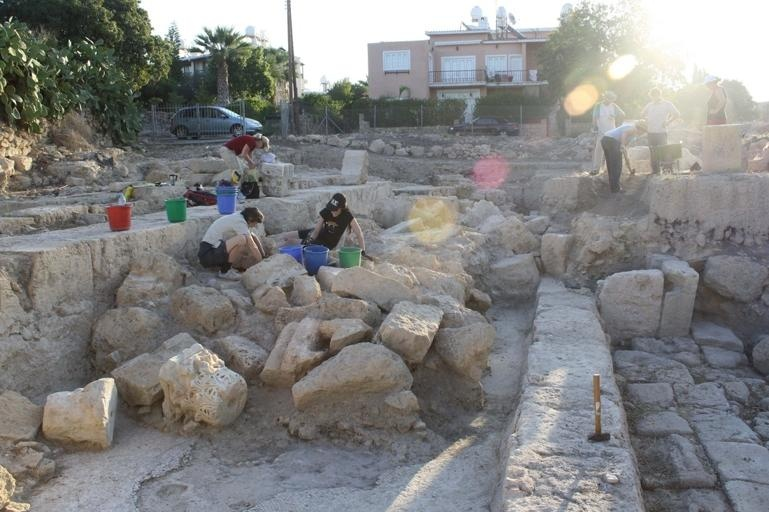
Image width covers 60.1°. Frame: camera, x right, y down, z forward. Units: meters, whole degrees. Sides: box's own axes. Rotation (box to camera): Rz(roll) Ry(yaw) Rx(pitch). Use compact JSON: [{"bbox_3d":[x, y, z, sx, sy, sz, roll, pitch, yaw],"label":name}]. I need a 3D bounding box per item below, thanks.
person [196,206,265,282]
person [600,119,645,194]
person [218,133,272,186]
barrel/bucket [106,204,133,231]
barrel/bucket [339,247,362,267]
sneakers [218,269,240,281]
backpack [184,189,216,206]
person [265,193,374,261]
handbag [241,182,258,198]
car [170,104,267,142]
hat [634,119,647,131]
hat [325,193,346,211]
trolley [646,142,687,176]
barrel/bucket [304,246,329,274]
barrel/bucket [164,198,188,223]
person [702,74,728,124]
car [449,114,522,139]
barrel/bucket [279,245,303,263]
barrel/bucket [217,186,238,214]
[{"bbox_3d":[-1.929,-0.194,8.401,0.905,0.776,0.775,-1,21,-10],"label":"person"},{"bbox_3d":[3.853,-1.607,10.696,0.670,1.111,0.929,4,15,21],"label":"person"},{"bbox_3d":[-2.353,-1.658,11.049,0.687,0.664,0.519,6,16,28],"label":"person"},{"bbox_3d":[-3.216,-0.464,8.066,0.281,0.291,0.316,1,-1,10],"label":"barrel/bucket"},{"bbox_3d":[-0.434,0.032,8.257,0.263,0.233,0.290,-3,14,-8],"label":"barrel/bucket"},{"bbox_3d":[-1.951,0.241,8.334,0.328,0.150,0.121,-4,20,3],"label":"sneakers"},{"bbox_3d":[-2.848,-0.885,10.202,0.254,0.144,0.453,2,1,-1],"label":"backpack"},{"bbox_3d":[-0.883,-0.386,8.642,1.537,0.863,0.790,11,10,-13],"label":"person"},{"bbox_3d":[-2.098,-1.015,10.349,0.294,0.293,0.222,0,2,-5],"label":"handbag"},{"bbox_3d":[-5.266,-4.049,20.175,2.358,0.923,1.303,-2,18,2],"label":"car"},{"bbox_3d":[4.087,-2.063,10.513,0.180,0.172,0.527,4,15,21],"label":"hat"},{"bbox_3d":[-0.616,-0.683,8.613,0.183,0.139,0.267,41,32,14],"label":"hat"},{"bbox_3d":[4.481,-1.553,10.545,0.450,0.474,0.433,3,14,17],"label":"trolley"},{"bbox_3d":[-0.873,0.048,8.316,0.294,0.274,0.330,1,4,1],"label":"barrel/bucket"},{"bbox_3d":[-2.751,-0.596,8.662,0.279,0.278,0.300,0,0,0],"label":"barrel/bucket"},{"bbox_3d":[5.622,-2.632,11.232,0.359,0.784,1.045,5,15,24],"label":"person"},{"bbox_3d":[3.572,-4.597,23.599,2.319,0.716,0.978,6,14,2],"label":"car"},{"bbox_3d":[-1.176,-0.023,8.385,0.219,0.179,0.235,-2,4,0],"label":"barrel/bucket"},{"bbox_3d":[-2.136,-0.788,9.163,0.344,0.380,0.348,1,11,0],"label":"barrel/bucket"}]
